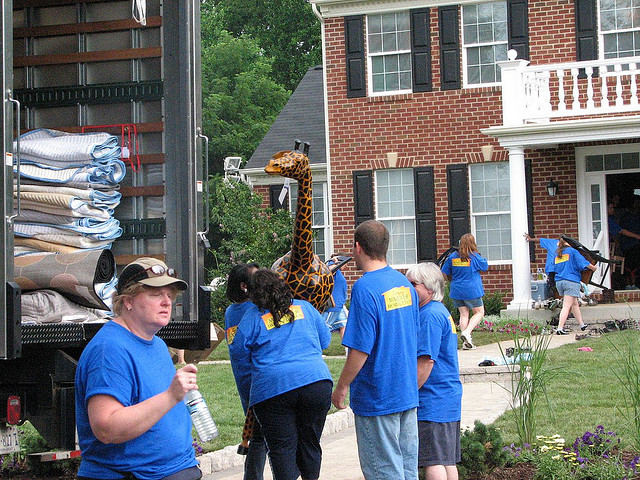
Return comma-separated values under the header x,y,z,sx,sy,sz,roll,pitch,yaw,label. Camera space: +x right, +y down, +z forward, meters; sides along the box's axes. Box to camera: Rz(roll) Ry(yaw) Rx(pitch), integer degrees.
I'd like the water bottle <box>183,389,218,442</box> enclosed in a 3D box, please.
x,y,z,sx,sy,sz,roll,pitch,yaw,label
-0.957,1.289,8.960,0.158,0.567,0.148,-18,-6,-2,water bottle

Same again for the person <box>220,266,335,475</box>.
x,y,z,sx,sy,sz,roll,pitch,yaw,label
-0.339,1.133,9.991,0.855,1.721,0.453,-2,0,-5,person

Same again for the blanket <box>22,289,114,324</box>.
x,y,z,sx,sy,sz,roll,pitch,yaw,label
-2.354,0.580,10.585,0.749,0.311,0.473,-2,1,-13,blanket

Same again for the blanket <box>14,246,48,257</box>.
x,y,z,sx,sy,sz,roll,pitch,yaw,label
-2.885,0.093,11.198,0.278,0.102,0.378,-2,1,33,blanket

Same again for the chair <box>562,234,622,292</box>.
x,y,z,sx,sy,sz,roll,pitch,yaw,label
4.866,0.375,20.646,1.099,0.799,0.690,7,13,-9,chair

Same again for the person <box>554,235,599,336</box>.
x,y,z,sx,sy,sz,roll,pitch,yaw,label
4.128,0.676,18.774,0.691,1.622,0.794,-5,-6,31,person

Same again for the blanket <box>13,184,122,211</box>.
x,y,z,sx,sy,sz,roll,pitch,yaw,label
-2.478,-0.428,11.517,0.991,0.232,0.634,2,0,29,blanket
